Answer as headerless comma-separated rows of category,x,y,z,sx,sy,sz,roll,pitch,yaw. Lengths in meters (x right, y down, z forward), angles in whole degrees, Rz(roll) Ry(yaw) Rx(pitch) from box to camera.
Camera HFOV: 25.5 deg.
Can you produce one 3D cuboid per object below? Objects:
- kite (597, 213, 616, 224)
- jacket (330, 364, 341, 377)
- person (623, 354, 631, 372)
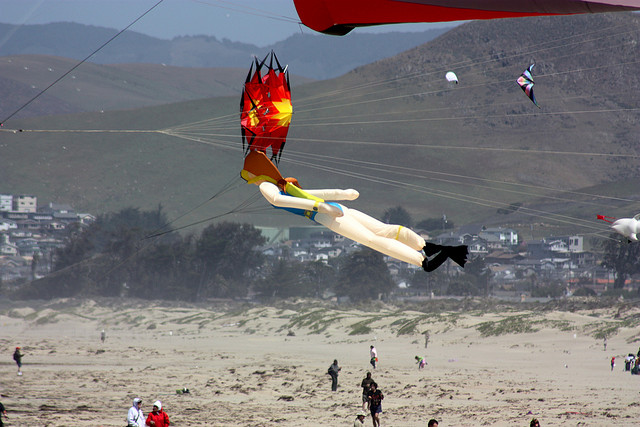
kite,57.199,1.071,283.204,3.401,1.018,2.245,9,4,-4
jacket,2.694,28.443,256.483,1.457,2.261,0.891,2,-7,-12
person,56.451,27.480,260.221,0.707,3.202,1.464,4,-7,-27
